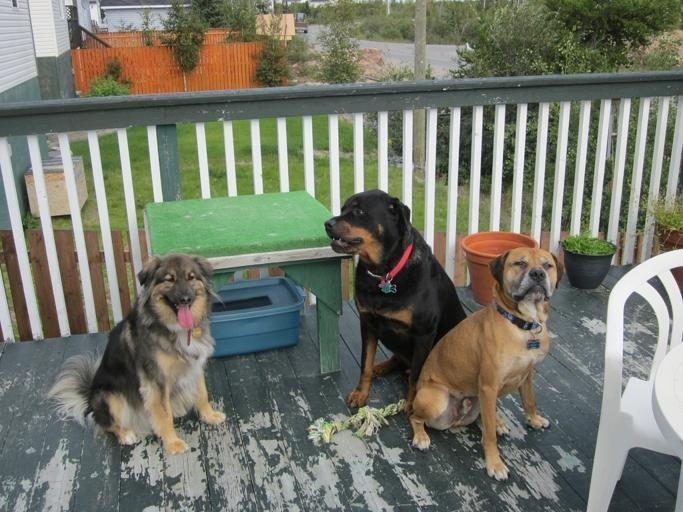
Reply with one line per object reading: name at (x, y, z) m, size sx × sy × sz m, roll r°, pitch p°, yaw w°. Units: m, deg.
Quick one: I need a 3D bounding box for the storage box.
storage box at (-6.330, -1.415, 10.714) m, size 1.018 × 1.279 × 1.563 m, roll -11°, pitch 24°, yaw -18°

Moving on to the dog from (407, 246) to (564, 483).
dog at (0.766, 0.497, 2.748) m, size 0.809 × 1.206 × 0.670 m, roll 11°, pitch 20°, yaw 42°

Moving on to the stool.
stool at (-0.591, 0.284, 3.617) m, size 1.245 × 0.899 × 1.324 m, roll -10°, pitch 13°, yaw -25°

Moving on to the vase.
vase at (1.304, 0.145, 4.090) m, size 0.526 × 0.456 × 0.512 m, roll -7°, pitch -4°, yaw 40°

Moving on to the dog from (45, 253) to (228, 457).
dog at (-1.181, 0.467, 2.859) m, size 0.942 × 1.262 × 0.584 m, roll 11°, pitch 21°, yaw 13°

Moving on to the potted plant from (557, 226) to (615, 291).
potted plant at (2.087, 0.001, 4.229) m, size 0.414 × 0.380 × 0.427 m, roll -12°, pitch 19°, yaw -40°
